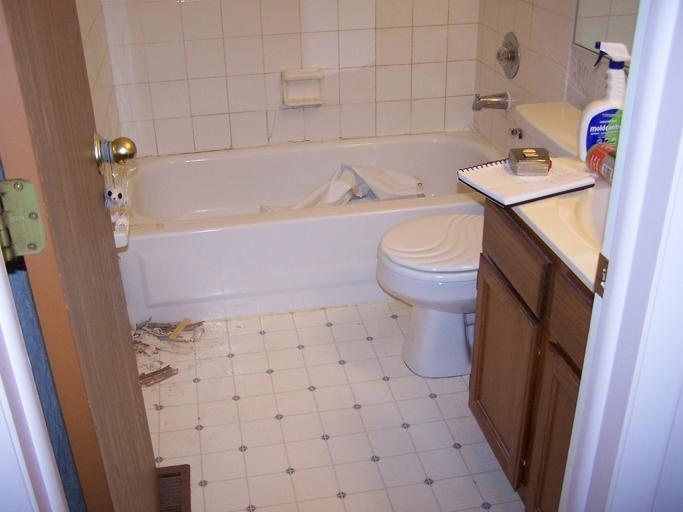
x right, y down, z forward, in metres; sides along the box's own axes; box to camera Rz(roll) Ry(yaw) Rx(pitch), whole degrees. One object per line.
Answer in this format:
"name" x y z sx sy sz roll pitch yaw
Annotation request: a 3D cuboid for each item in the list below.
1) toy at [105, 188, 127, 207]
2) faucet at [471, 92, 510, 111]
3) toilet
"toy" -0.469 -0.125 1.120 0.021 0.050 0.046 -9 -5 42
"faucet" 0.749 -0.754 2.695 0.187 0.110 0.114 -4 39 -12
"toilet" 0.513 0.092 2.216 0.725 0.563 0.472 -7 33 -11
